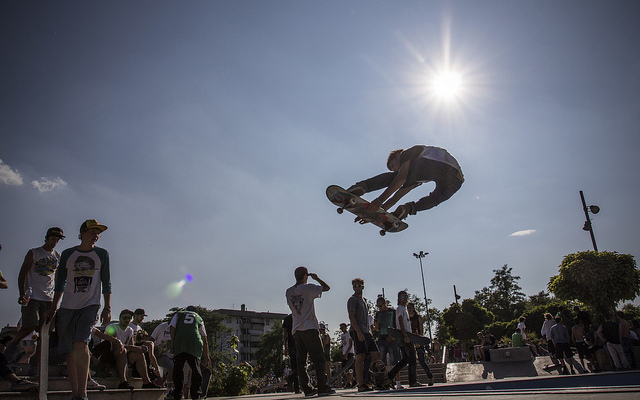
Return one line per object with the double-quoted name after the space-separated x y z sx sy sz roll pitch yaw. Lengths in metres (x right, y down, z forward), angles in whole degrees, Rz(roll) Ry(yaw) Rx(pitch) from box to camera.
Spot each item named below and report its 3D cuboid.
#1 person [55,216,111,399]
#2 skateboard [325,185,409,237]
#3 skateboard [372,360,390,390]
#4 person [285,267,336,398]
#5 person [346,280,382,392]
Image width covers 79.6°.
-3.412 1.521 5.462 0.739 2.410 0.597 7 -26 -22 "person"
1.069 0.081 8.123 1.721 0.234 0.414 30 -51 -22 "skateboard"
1.199 3.540 7.771 0.226 0.680 0.274 -12 0 4 "skateboard"
-0.219 2.423 7.064 0.723 2.181 0.941 -3 -24 -2 "person"
0.873 2.669 7.637 0.547 2.079 1.447 -5 -24 3 "person"
